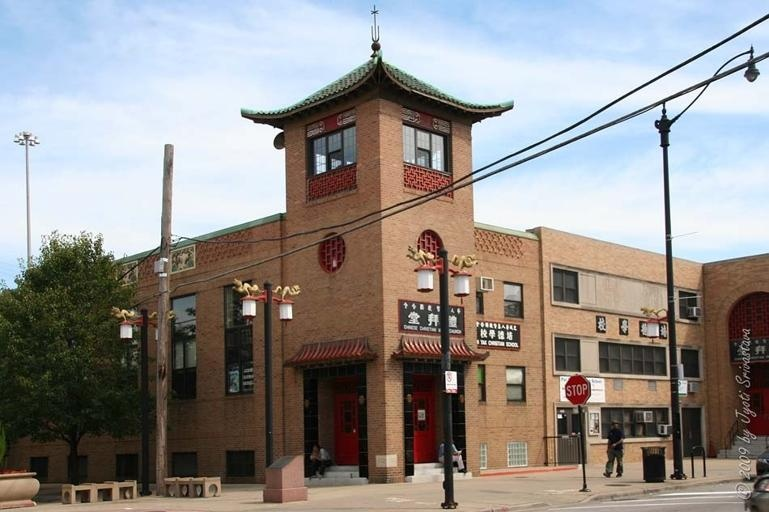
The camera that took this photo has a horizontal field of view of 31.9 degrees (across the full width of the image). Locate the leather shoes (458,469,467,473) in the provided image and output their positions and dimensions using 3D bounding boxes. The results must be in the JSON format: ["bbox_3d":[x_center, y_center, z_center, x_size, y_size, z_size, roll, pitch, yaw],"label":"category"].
[{"bbox_3d":[3.688,10.371,64.622,0.294,0.195,0.158,8,-13,-42],"label":"leather shoes"}]

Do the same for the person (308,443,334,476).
[{"bbox_3d":[-3.173,9.914,65.140,1.117,1.645,0.739,7,-18,-30],"label":"person"}]
